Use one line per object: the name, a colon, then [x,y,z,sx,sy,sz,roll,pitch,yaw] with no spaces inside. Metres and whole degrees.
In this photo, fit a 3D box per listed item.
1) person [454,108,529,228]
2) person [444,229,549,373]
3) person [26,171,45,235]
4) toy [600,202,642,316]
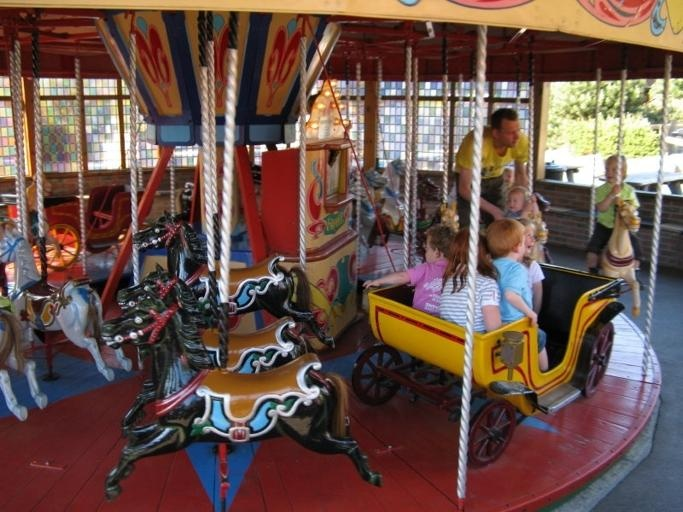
person: [1.458,-0.835,5.209,0.691,1.191,1.229,3,12,19]
person: [1.167,0.290,3.713,0.953,1.081,0.521,-11,15,-42]
person: [-3.415,-0.469,5.881,0.155,0.741,0.161,-6,-3,8]
toy: [2.695,0.048,5.080,0.382,1.165,0.461,4,12,22]
